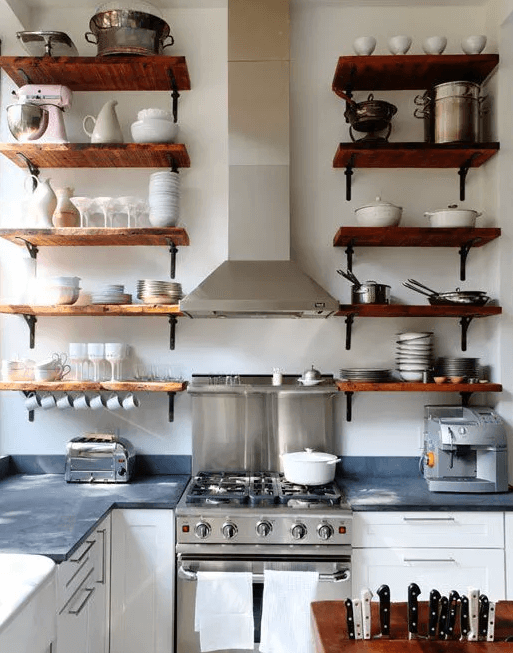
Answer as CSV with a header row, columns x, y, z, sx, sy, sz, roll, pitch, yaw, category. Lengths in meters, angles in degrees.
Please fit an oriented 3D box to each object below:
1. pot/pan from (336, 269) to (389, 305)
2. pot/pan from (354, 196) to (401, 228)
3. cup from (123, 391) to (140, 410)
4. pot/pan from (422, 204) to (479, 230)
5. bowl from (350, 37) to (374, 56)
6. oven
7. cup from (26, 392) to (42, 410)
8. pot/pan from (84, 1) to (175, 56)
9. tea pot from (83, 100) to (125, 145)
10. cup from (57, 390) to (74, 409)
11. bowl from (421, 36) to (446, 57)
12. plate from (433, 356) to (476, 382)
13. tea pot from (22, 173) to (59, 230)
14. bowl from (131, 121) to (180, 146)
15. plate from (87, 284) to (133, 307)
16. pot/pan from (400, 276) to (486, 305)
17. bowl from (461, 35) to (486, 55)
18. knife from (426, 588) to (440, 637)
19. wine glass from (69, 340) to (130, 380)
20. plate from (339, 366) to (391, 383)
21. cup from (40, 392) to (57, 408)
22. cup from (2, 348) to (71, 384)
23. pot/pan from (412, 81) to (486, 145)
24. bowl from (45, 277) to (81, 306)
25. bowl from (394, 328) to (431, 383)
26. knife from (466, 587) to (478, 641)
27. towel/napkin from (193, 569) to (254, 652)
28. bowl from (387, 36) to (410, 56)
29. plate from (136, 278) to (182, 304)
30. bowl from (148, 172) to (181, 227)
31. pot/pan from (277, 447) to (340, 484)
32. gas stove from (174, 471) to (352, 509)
x,y,z,sx,sy,sz,roll,pitch,yaw,category
0.499,-0.166,3.164,0.215,0.130,0.151,5,7,22,pot/pan
0.566,-0.518,3.233,0.188,0.108,0.170,0,-5,-7,pot/pan
-0.580,0.350,3.148,0.059,0.077,0.074,7,9,36,cup
0.905,-0.501,3.177,0.240,0.106,0.124,3,7,10,pot/pan
0.501,-1.310,3.258,0.109,0.075,0.099,-1,3,-9,bowl
0.013,0.980,3.022,0.884,0.723,0.563,-1,-10,-3,oven
-1.035,0.347,3.184,0.064,0.072,0.060,-10,-10,-2,cup
-0.586,-1.357,3.148,0.387,0.205,0.320,-1,-4,-5,pot/pan
-0.739,-0.970,3.283,0.180,0.237,0.358,0,7,-14,tea pot
-0.891,0.350,3.232,0.087,0.085,0.074,-10,3,-4,cup
0.828,-1.302,3.240,0.110,0.064,0.110,-1,-5,0,bowl
0.935,0.204,3.195,0.138,0.073,0.130,1,-7,-3,plate
-1.016,-0.579,3.224,0.150,0.234,0.122,9,10,42,tea pot
-0.482,-0.893,3.176,0.152,0.049,0.144,0,4,0,bowl
-0.667,-0.148,3.223,0.204,0.092,0.161,-1,7,-23,plate
0.890,-0.157,3.227,0.392,0.110,0.387,3,6,9,pot/pan
1.005,-1.299,3.173,0.112,0.077,0.107,-4,0,0,bowl
0.490,0.795,1.911,0.049,0.127,0.037,4,-5,-5,knife
-0.755,0.163,3.245,0.242,0.141,0.237,2,-1,-41,wine glass
0.510,0.230,3.257,0.220,0.078,0.247,2,6,1,plate
-0.967,0.340,3.218,0.080,0.070,0.065,-4,-31,-1,cup
-1.050,0.189,3.206,0.245,0.088,0.173,-3,-8,13,cup
0.879,-0.974,3.222,0.480,0.265,0.303,0,-3,4,pot/pan
-0.883,-0.158,3.131,0.150,0.096,0.136,-3,-1,0,bowl
0.730,0.140,3.257,0.130,0.231,0.263,-2,8,-27,bowl
0.601,0.793,1.908,0.037,0.150,0.051,5,8,17,knife
-0.127,1.122,2.700,0.225,0.279,0.109,1,8,-5,towel/napkin
0.669,-1.305,3.227,0.109,0.073,0.102,-1,-1,0,bowl
-0.440,-0.151,3.172,0.156,0.065,0.137,-4,-6,37,plate
-0.428,-0.584,3.175,0.131,0.258,0.084,1,8,-11,bowl
0.242,0.620,2.994,0.235,0.103,0.192,10,-17,-39,pot/pan
0.027,0.712,3.037,0.669,0.052,0.469,2,6,2,gas stove
